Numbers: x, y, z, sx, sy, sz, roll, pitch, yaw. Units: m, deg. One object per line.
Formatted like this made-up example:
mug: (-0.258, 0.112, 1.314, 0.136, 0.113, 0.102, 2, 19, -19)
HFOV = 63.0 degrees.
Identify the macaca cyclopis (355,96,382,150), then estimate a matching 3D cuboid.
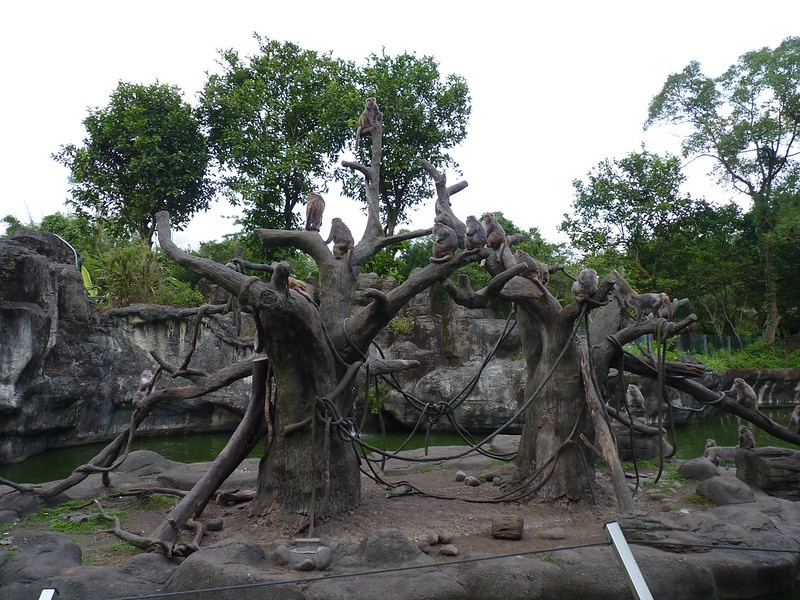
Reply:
macaca cyclopis: (-0.671, -3.153, 12.182, 0.342, 0.470, 1.118, 7, -58, -18)

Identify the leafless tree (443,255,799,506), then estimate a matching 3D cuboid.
leafless tree: (3.693, 1.323, 12.352, 5.032, 4.237, 3.758, 1, -4, -8)
